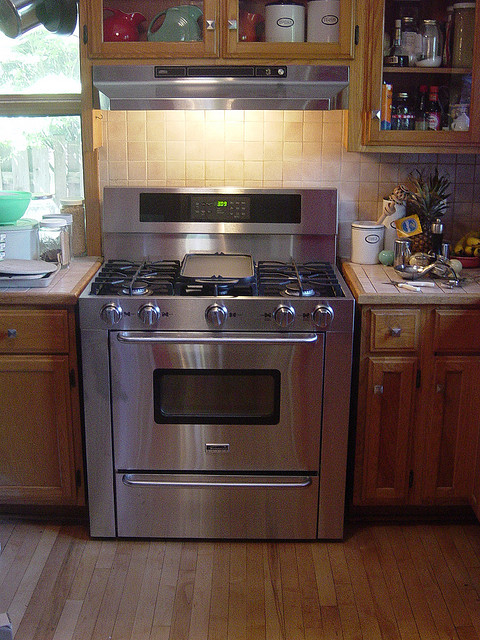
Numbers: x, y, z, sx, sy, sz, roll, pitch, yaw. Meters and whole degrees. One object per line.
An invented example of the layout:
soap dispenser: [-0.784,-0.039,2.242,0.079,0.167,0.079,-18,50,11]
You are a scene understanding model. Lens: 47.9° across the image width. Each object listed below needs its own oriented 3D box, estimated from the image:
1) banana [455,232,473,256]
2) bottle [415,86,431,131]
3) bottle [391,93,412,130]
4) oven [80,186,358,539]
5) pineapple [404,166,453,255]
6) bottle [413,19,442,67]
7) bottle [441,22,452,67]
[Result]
banana: [0.869,-0.291,2.087,0.029,0.040,0.148,29,56,-1]
bottle: [0.626,-0.717,1.835,0.046,0.139,0.013,-1,8,-7]
bottle: [0.554,-0.706,1.835,0.073,0.114,0.017,-2,9,-15]
oven: [-0.090,0.009,1.920,0.828,1.329,0.832,2,37,-4]
pineapple: [0.712,-0.423,2.058,0.153,0.333,0.294,3,9,21]
bottle: [0.641,-0.932,1.821,0.075,0.149,0.085,-18,34,-13]
bottle: [0.688,-0.911,1.796,0.039,0.138,0.007,0,8,-2]
